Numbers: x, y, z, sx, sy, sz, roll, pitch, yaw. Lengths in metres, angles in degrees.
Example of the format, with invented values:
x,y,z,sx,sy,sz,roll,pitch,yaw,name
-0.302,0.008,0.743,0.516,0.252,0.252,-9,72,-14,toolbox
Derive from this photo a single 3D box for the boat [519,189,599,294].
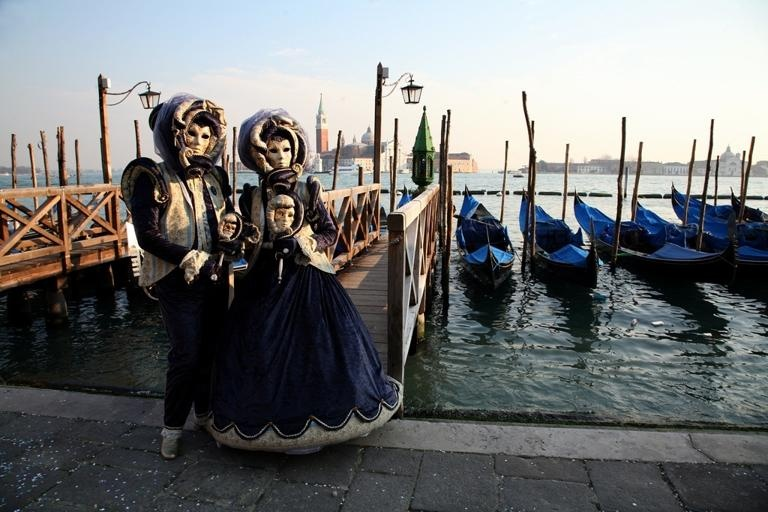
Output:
x,y,z,sx,sy,sz,roll,pitch,yaw,name
4.419,-0.287,15.166,1.028,1.531,4.229,-7,12,3,boat

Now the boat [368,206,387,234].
x,y,z,sx,sy,sz,roll,pitch,yaw,name
-0.055,-1.137,17.552,0.489,0.616,1.598,-1,4,9,boat

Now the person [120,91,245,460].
x,y,z,sx,sy,sz,roll,pitch,yaw,name
-1.581,0.146,4.797,0.844,2.812,0.593,-5,12,-24,person
